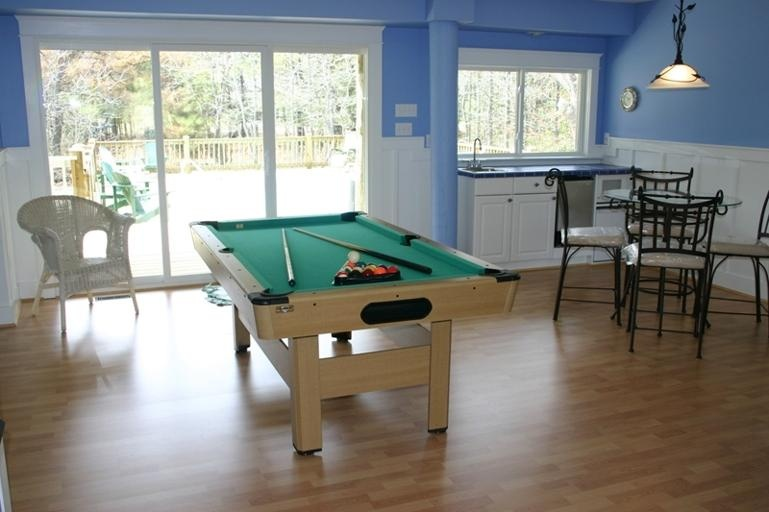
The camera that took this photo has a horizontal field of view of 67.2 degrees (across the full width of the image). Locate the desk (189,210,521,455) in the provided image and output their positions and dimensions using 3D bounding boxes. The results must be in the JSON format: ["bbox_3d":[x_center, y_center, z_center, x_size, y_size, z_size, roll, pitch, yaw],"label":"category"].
[{"bbox_3d":[-0.458,0.445,4.594,1.757,1.163,2.576,-5,15,-27],"label":"desk"}]

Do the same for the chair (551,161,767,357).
[{"bbox_3d":[2.649,-0.002,5.574,1.365,2.517,1.420,4,10,20],"label":"chair"}]

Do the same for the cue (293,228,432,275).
[{"bbox_3d":[-0.166,-0.021,4.176,0.060,0.056,1.500,33,-9,-36],"label":"cue"}]

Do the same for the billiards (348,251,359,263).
[{"bbox_3d":[-0.208,0.019,3.802,0.081,0.045,0.075,-13,44,-22],"label":"billiards"}]

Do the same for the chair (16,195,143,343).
[{"bbox_3d":[-2.989,0.029,5.731,0.961,1.236,1.066,-11,15,-38],"label":"chair"}]
